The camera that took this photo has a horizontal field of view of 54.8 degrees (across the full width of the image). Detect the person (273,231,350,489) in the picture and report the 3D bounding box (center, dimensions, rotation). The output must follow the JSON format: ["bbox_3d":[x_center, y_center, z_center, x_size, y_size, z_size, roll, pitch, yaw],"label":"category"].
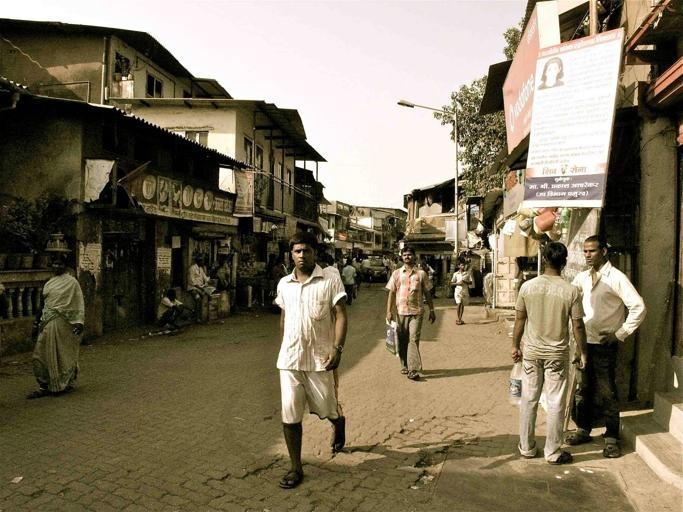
[{"bbox_3d":[-0.359,1.092,7.313,0.919,2.667,0.684,-4,9,-25],"label":"person"}]

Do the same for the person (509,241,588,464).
[{"bbox_3d":[2.379,1.091,7.549,0.818,2.447,0.596,3,9,20],"label":"person"}]

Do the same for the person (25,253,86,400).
[{"bbox_3d":[-4.314,1.085,9.892,0.594,1.947,0.891,4,9,29],"label":"person"}]

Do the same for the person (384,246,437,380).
[{"bbox_3d":[1.137,0.937,10.949,0.780,2.143,1.098,1,8,8],"label":"person"}]

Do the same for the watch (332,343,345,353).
[{"bbox_3d":[-0.036,1.040,7.312,0.095,0.079,0.098,-3,16,-19],"label":"watch"}]

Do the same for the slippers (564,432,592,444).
[{"bbox_3d":[2.851,2.177,7.949,0.284,0.133,0.142,2,-5,-15],"label":"slippers"}]

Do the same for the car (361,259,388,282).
[{"bbox_3d":[2.080,0.794,40.659,0.903,1.025,1.970,0,-7,-3],"label":"car"}]
